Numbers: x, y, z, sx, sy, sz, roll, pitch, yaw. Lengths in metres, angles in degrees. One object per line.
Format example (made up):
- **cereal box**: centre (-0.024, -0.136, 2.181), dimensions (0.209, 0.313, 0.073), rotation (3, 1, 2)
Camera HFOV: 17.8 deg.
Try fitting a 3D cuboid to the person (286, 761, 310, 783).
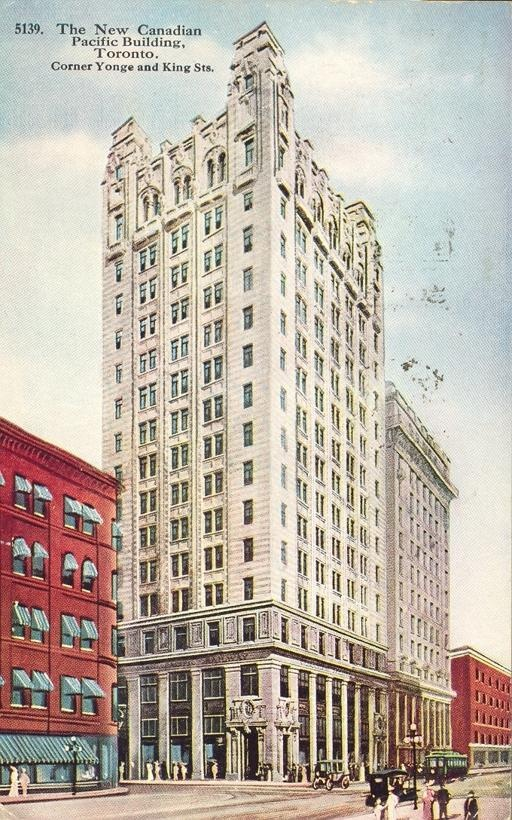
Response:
- **person**: centre (1.047, 8.974, 40.194), dimensions (0.770, 0.499, 0.135), rotation (16, -23, -40)
